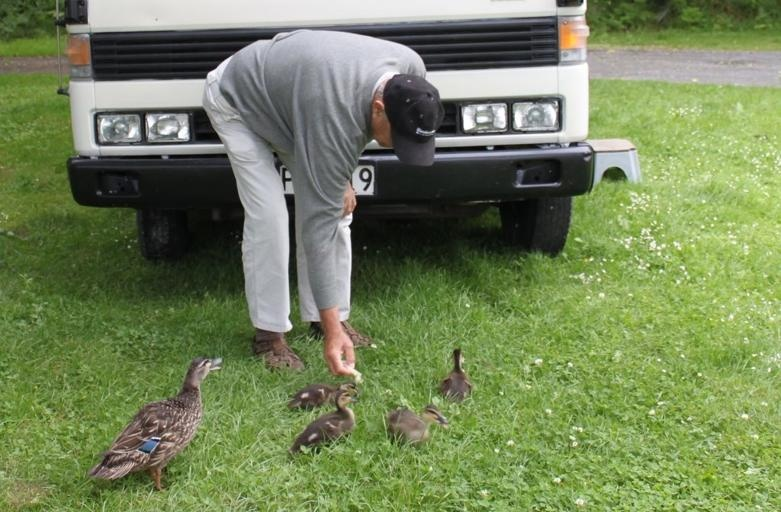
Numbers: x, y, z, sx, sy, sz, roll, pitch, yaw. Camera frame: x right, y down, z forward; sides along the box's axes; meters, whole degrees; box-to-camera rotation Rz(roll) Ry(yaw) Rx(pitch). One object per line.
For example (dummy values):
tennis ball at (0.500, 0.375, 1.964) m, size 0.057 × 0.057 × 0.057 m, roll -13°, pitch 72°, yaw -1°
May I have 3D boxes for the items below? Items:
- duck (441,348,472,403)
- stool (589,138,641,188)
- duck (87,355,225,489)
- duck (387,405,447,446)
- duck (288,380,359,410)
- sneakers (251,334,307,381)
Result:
duck at (0.510, 0.899, 5.354) m, size 0.231 × 0.314 × 0.311 m, roll 19°, pitch 28°, yaw 42°
stool at (2.825, -1.185, 9.004) m, size 0.679 × 0.448 × 0.713 m, roll -1°, pitch 21°, yaw -2°
duck at (-1.501, 1.120, 4.588) m, size 0.283 × 0.661 × 0.903 m, roll 13°, pitch 24°, yaw 32°
duck at (0.165, 1.160, 4.988) m, size 0.353 × 0.274 × 0.217 m, roll 32°, pitch 21°, yaw 23°
duck at (-0.503, 0.995, 5.173) m, size 0.445 × 0.205 × 0.219 m, roll 4°, pitch 3°, yaw -8°
sneakers at (-0.882, 0.766, 5.544) m, size 0.213 × 0.181 × 0.444 m, roll -31°, pitch 48°, yaw -31°
